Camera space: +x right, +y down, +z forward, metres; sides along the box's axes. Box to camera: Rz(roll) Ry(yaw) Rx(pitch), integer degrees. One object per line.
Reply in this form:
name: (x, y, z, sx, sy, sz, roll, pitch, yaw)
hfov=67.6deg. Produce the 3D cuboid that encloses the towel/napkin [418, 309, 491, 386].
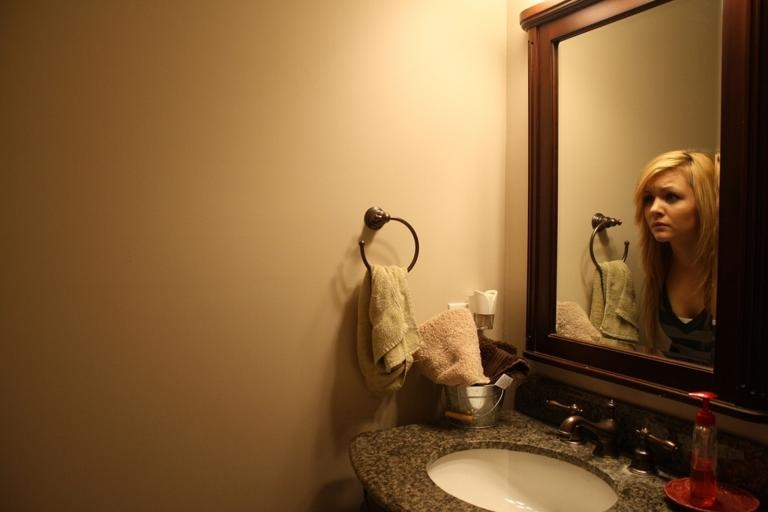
towel/napkin: (0.230, 0.311, 1.932, 0.243, 0.247, 0.124, 0, 7, -2)

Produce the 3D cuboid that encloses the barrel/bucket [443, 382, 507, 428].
barrel/bucket: (0.307, 0.498, 1.917, 0.158, 0.103, 0.164, 0, -13, 0)

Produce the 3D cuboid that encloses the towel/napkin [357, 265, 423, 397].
towel/napkin: (0.014, 0.240, 1.896, 0.203, 0.409, 0.121, 0, 7, 0)

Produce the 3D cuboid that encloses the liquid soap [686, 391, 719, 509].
liquid soap: (0.862, 0.519, 1.545, 0.076, 0.286, 0.103, 3, 8, 24)
